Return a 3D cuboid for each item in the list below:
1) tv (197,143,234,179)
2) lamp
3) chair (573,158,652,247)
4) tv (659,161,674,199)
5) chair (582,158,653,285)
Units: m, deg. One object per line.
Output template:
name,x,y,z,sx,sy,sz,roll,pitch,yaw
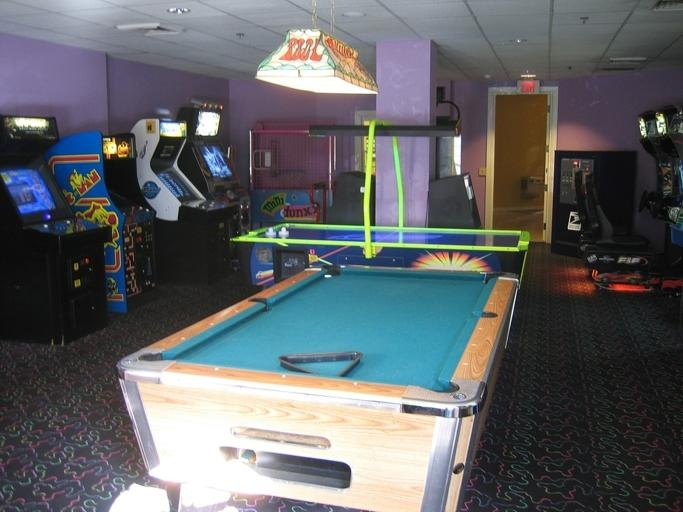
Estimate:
tv,-1.757,-1.328,7.358,0.109,0.476,0.478,-27,-20,27
lamp,-0.145,-1.144,3.070,0.481,0.327,0.589,6,15,23
chair,3.595,-0.557,6.908,0.987,1.104,0.918,-1,8,-1
tv,4.041,-0.964,6.495,0.130,0.378,0.287,4,6,10
chair,3.553,-0.444,6.826,0.864,1.382,0.809,1,14,20
